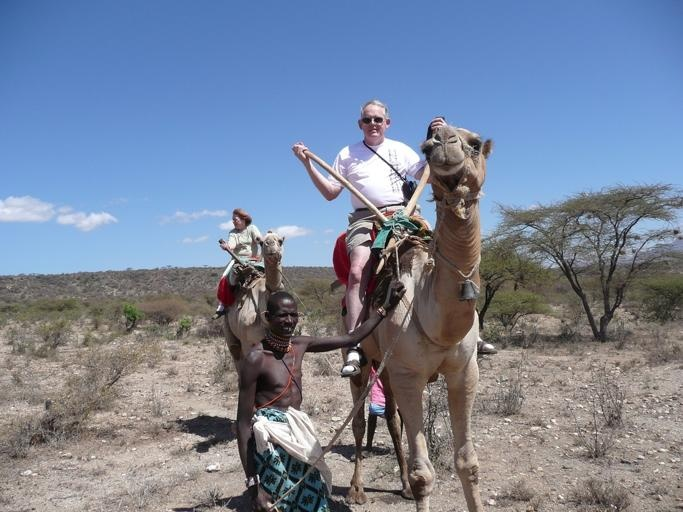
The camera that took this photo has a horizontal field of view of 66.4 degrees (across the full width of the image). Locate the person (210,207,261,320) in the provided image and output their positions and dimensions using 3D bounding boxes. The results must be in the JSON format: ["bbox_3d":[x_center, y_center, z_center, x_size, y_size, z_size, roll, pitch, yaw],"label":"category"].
[{"bbox_3d":[-2.119,0.347,11.042,0.795,3.084,1.065,0,0,6],"label":"person"}]

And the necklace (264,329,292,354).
[{"bbox_3d":[-0.779,1.104,6.586,0.276,0.172,0.305,13,18,-24],"label":"necklace"}]

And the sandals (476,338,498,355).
[{"bbox_3d":[2.086,1.359,7.769,0.177,0.196,0.475,2,-9,-20],"label":"sandals"}]

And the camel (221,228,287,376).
[{"bbox_3d":[-1.563,0.729,9.379,1.082,3.210,1.189,1,3,-33],"label":"camel"}]
